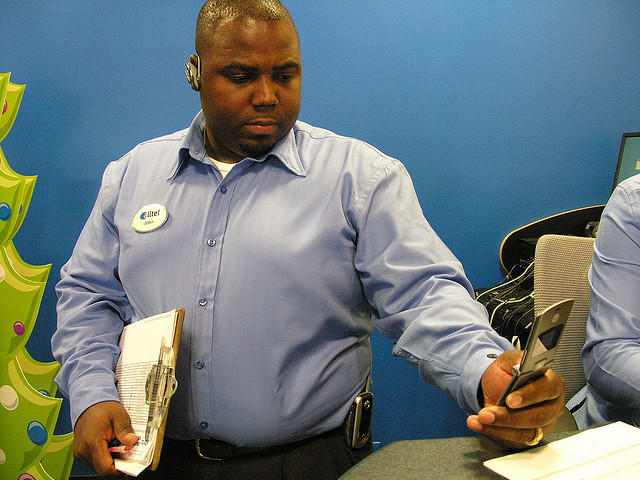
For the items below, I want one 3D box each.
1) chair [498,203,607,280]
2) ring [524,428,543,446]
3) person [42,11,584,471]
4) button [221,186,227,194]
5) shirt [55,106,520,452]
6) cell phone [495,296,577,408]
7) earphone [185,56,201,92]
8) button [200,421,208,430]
[{"bbox_3d":[1.196,-0.041,3.065,0.463,0.189,0.371,-12,6,-21],"label":"chair"},{"bbox_3d":[0.507,0.472,1.436,0.010,0.044,0.041,19,8,9],"label":"ring"},{"bbox_3d":[-0.165,0.034,1.706,1.460,1.326,0.747,7,17,19],"label":"person"},{"bbox_3d":[-0.295,-0.155,1.823,0.017,0.021,0.005,0,-6,-2],"label":"button"},{"bbox_3d":[-0.160,0.146,1.754,1.383,0.934,0.665,8,17,19],"label":"shirt"},{"bbox_3d":[0.487,0.258,1.379,0.150,0.262,0.085,-9,18,-31],"label":"cell phone"},{"bbox_3d":[-0.400,-0.528,1.875,0.038,0.105,0.097,-4,17,-17],"label":"earphone"},{"bbox_3d":[-0.345,0.550,1.766,0.023,0.026,0.004,3,15,6],"label":"button"}]
